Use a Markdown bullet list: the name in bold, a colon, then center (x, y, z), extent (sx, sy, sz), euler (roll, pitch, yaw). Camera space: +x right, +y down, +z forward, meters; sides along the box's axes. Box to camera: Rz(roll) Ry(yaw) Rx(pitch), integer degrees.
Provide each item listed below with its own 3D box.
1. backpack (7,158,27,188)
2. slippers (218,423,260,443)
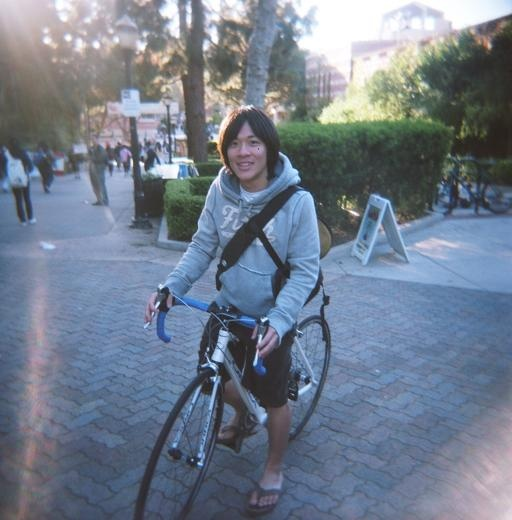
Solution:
- **backpack**: center (-5.525, -1.995, 10.530), extent (0.426, 0.806, 0.338), euler (-8, 5, 44)
- **slippers**: center (-0.111, 1.039, 2.780), extent (0.260, 0.141, 0.109), euler (0, -12, 35)
